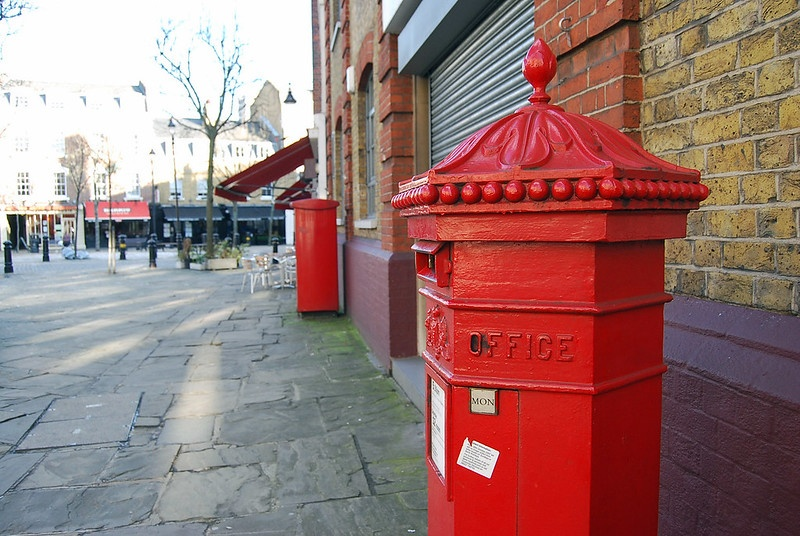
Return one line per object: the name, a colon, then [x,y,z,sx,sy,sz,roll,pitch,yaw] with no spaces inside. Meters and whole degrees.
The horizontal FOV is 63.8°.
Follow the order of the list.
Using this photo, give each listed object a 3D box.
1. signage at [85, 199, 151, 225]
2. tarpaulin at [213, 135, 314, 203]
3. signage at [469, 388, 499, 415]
signage: [-20.408,-4.130,46.644,1.727,1.553,4.475,3,8,37]
tarpaulin: [-3.359,-2.946,16.363,1.485,0.999,2.281,-1,0,11]
signage: [0.352,0.550,2.659,0.103,0.098,0.015,2,-2,13]
